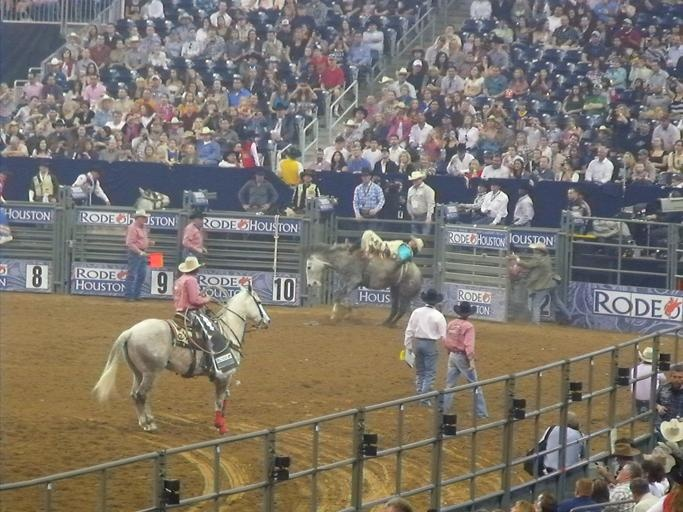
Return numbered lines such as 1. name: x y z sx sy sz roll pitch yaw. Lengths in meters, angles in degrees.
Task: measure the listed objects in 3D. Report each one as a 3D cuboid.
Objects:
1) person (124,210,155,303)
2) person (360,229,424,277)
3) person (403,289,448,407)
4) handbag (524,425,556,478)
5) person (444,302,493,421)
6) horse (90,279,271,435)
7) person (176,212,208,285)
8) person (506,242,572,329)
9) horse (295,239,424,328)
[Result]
1. person: -5.498 -0.012 47.753 0.927 2.077 0.605 24 26 31
2. person: 1.189 -0.196 45.702 1.676 0.809 1.132 0 1 -21
3. person: 1.721 1.859 39.281 0.869 2.251 1.400 1 1 2
4. handbag: 3.795 3.846 36.213 0.250 0.973 0.713 1 1 41
5. person: 2.379 1.967 39.030 1.157 1.918 0.832 7 13 -8
6. horse: -3.427 2.119 38.427 3.537 3.046 1.727 0 1 -43
7. person: -3.951 -0.207 47.802 0.845 1.807 0.661 10 20 15
8. person: 4.886 0.710 46.546 1.567 2.050 0.927 1 1 5
9. horse: 0.508 0.733 45.908 3.460 1.785 0.816 9 5 28
